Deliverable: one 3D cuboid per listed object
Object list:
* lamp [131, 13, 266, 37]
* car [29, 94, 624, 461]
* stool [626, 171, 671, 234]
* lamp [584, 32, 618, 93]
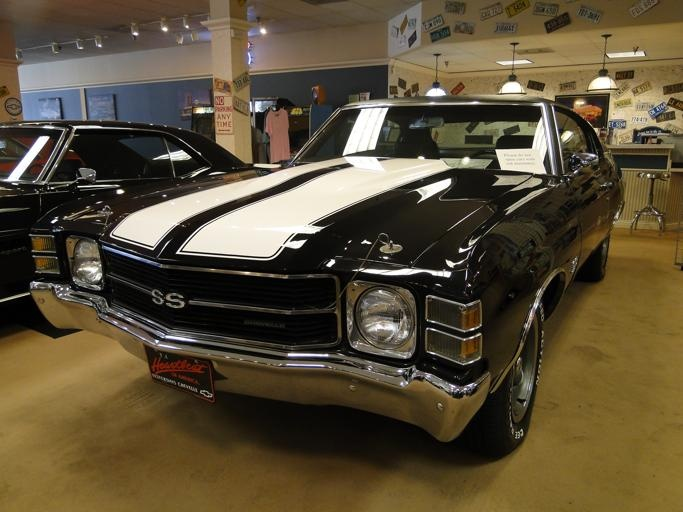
[{"bbox_3d":[-3.008,-4.777,9.099,2.050,0.332,1.457,5,16,21],"label":"lamp"},{"bbox_3d":[0.709,-0.392,3.623,2.750,1.437,4.804,6,17,36],"label":"car"},{"bbox_3d":[4.828,-0.870,6.890,0.482,0.883,0.780,10,21,31],"label":"stool"},{"bbox_3d":[5.662,-4.228,9.539,0.660,1.178,0.623,13,52,35],"label":"lamp"}]
